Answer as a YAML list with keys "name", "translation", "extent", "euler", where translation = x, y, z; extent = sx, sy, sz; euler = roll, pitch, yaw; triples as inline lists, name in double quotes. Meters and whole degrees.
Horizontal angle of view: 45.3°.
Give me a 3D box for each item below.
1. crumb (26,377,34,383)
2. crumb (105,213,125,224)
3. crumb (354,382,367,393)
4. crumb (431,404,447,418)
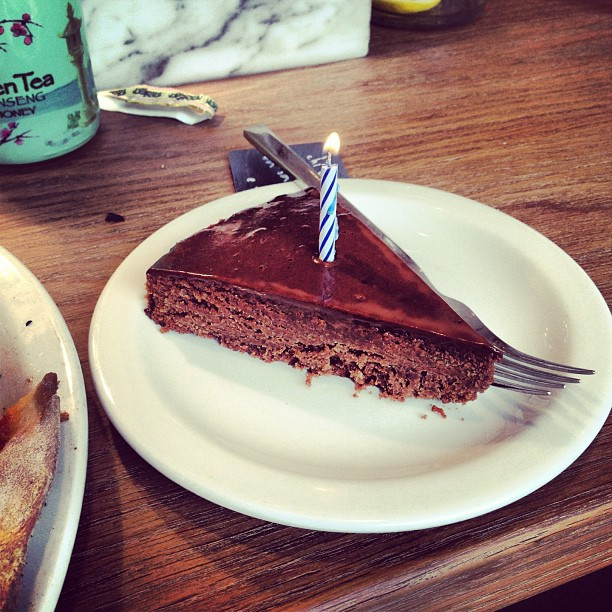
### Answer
- name: "crumb"
  translation: [-0.412, 0.112, 1.102]
  extent: [0.009, 0.001, 0.007]
  euler: [0, 31, -1]
- name: "crumb"
  translation: [-0.407, -0.187, 1.575]
  extent: [0.043, 0.008, 0.032]
  euler: [20, 49, 21]
- name: "crumb"
  translation: [0.096, 0.144, 1.298]
  extent: [0.019, 0.004, 0.013]
  euler: [-4, 33, -10]
- name: "crumb"
  translation: [0.226, 0.178, 1.242]
  extent: [0.023, 0.004, 0.016]
  euler: [-2, 28, -5]
